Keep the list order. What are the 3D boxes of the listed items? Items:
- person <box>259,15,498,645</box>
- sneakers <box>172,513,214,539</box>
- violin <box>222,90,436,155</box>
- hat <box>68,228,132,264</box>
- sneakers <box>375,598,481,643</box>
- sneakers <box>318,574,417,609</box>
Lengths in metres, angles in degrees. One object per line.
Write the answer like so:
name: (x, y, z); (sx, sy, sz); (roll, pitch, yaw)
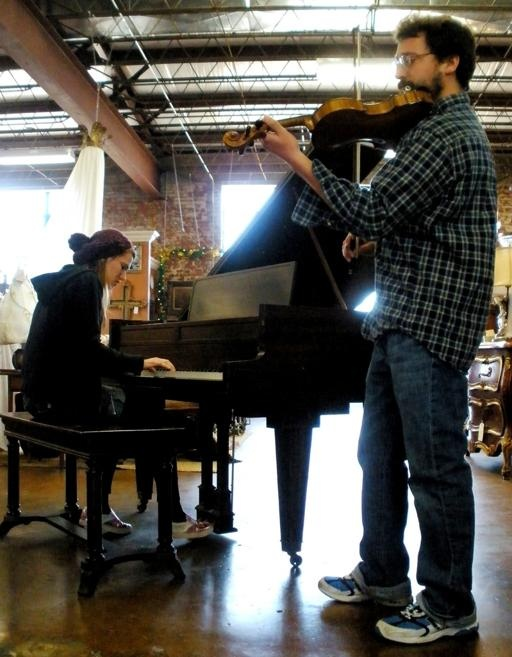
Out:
person: (0.438, 0.020, 1.890); (0.489, 1.794, 0.565); (-2, -4, 41)
sneakers: (-0.297, 0.917, 2.966); (0.185, 0.063, 0.096); (2, 1, -19)
violin: (0.198, -0.636, 1.848); (0.545, 0.096, 0.240); (-5, -21, -6)
hat: (-0.714, -0.365, 2.968); (0.250, 0.123, 0.195); (4, -1, -37)
sneakers: (0.508, 0.866, 1.923); (0.296, 0.116, 0.112); (0, -6, -3)
sneakers: (0.372, 0.847, 2.140); (0.307, 0.114, 0.110); (2, -10, 17)
